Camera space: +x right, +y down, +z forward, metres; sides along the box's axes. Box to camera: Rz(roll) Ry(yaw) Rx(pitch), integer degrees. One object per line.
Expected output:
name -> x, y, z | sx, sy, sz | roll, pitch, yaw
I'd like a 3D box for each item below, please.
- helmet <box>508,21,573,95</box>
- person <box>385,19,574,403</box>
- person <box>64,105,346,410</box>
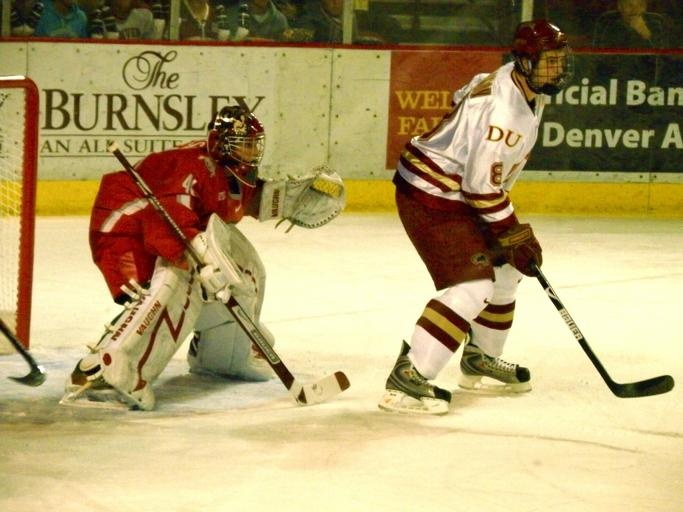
helmet -> 0.751, -0.751, 3.088 | 0.215, 0.270, 0.175 | 6, 15, 10
person -> 0.453, -0.146, 3.107 | 0.548, 1.480, 0.770 | 15, 19, 37
person -> -0.465, -0.014, 3.707 | 1.359, 1.201, 1.136 | 1, 2, -12
